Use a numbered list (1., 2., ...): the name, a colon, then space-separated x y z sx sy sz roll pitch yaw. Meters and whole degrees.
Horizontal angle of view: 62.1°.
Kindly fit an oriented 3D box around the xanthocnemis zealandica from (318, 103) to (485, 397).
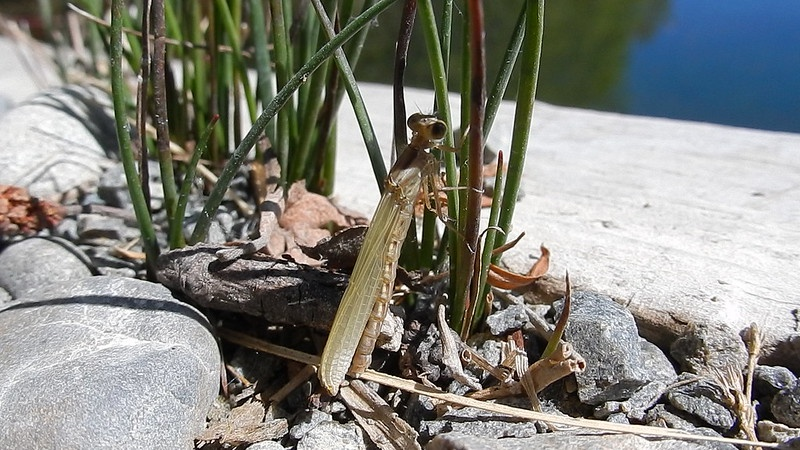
1. xanthocnemis zealandica: -0.012 0.148 2.668 0.432 1.364 0.507 3 4 -24
